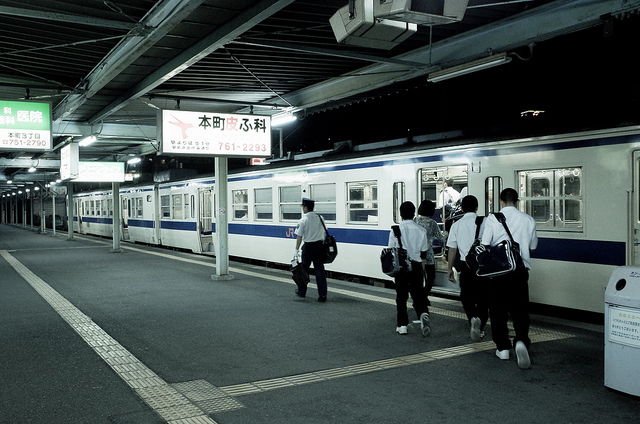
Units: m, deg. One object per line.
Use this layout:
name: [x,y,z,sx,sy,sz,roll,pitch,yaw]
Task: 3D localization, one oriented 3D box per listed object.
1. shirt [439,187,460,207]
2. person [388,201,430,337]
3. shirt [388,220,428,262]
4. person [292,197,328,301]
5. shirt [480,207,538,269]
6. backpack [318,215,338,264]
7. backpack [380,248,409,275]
shirt: [2.805,-0.315,11.740,0.367,0.254,0.189,-22,9,-8]
person: [1.540,0.978,9.408,0.663,2.262,0.620,-1,6,6]
shirt: [1.490,0.510,9.461,0.804,0.776,0.429,-3,14,-9]
person: [-0.228,0.814,11.839,0.737,2.188,0.737,-2,6,-4]
shirt: [2.879,0.430,8.308,1.114,1.152,0.631,3,3,15]
backpack: [0.152,0.608,11.712,0.377,1.068,0.308,-1,6,1]
backpack: [1.255,0.811,9.340,0.485,0.494,0.352,-15,9,-20]
